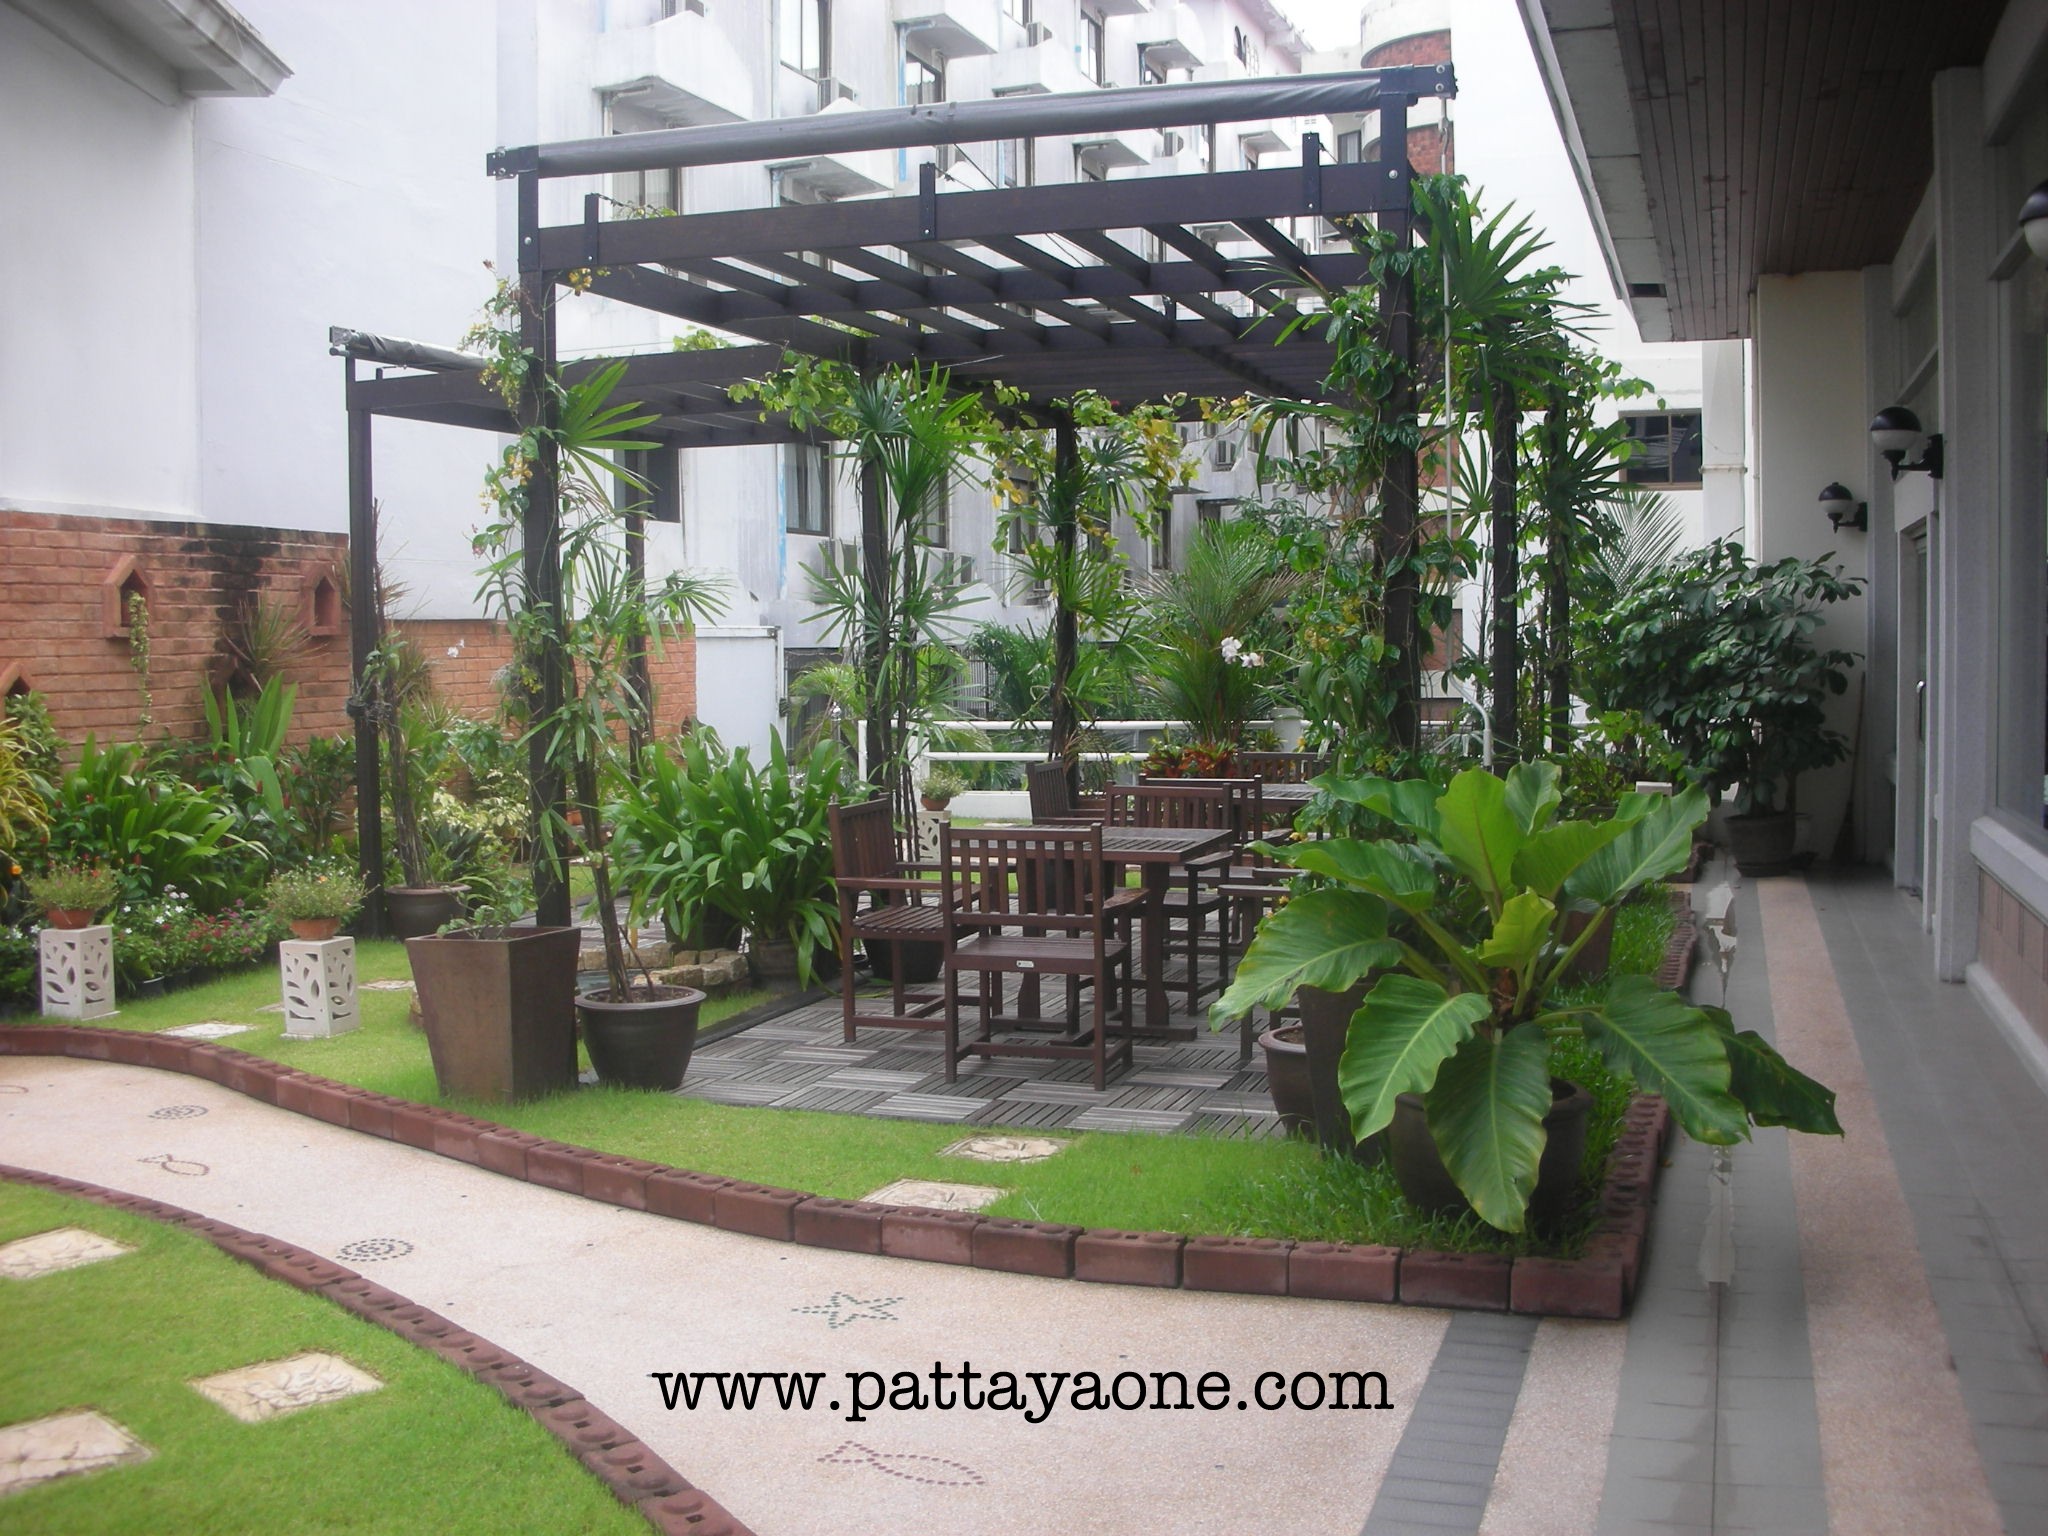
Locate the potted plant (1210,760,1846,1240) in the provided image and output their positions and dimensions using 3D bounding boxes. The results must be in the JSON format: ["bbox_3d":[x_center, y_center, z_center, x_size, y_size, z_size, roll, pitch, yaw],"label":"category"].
[{"bbox_3d":[1.256,0.595,3.883,1.376,1.220,1.329,-5,5,-41],"label":"potted plant"}]

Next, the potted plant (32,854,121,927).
[{"bbox_3d":[-4.926,0.653,7.580,0.333,0.277,0.374,0,-7,9],"label":"potted plant"}]

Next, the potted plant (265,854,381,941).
[{"bbox_3d":[-3.857,0.739,8.028,0.601,0.478,0.639,-1,-8,23],"label":"potted plant"}]

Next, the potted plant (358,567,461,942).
[{"bbox_3d":[-4.127,-0.122,9.603,0.546,2.289,1.646,-3,4,-25],"label":"potted plant"}]

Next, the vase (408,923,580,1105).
[{"bbox_3d":[-2.066,0.945,5.745,0.600,0.779,0.640,-3,-4,11],"label":"vase"}]

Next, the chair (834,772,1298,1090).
[{"bbox_3d":[0.093,0.664,6.659,1.076,0.907,1.802,0,0,13],"label":"chair"}]
